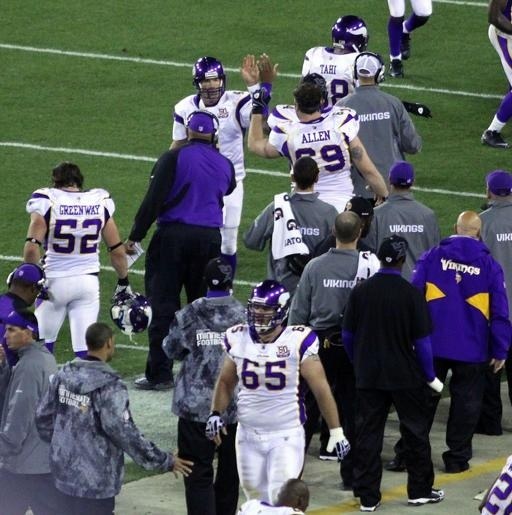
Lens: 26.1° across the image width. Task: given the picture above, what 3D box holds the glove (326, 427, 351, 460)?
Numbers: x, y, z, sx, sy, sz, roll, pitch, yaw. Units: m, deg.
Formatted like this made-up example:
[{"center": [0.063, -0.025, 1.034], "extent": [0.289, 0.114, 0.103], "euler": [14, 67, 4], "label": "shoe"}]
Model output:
[{"center": [0.472, 1.082, 6.396], "extent": [0.118, 0.242, 0.253], "euler": [2, 7, 4], "label": "glove"}]

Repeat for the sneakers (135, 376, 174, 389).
[{"center": [-0.829, 1.031, 8.898], "extent": [0.256, 0.115, 0.114], "euler": [7, 6, -3], "label": "sneakers"}]

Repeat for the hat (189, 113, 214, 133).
[{"center": [-0.417, -1.039, 8.344], "extent": [0.146, 0.172, 0.153], "euler": [11, 50, 10], "label": "hat"}]

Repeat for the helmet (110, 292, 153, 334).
[{"center": [-0.967, 0.420, 8.560], "extent": [0.282, 0.343, 0.334], "euler": [-11, 24, -21], "label": "helmet"}]

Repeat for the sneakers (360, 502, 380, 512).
[{"center": [0.727, 1.602, 7.081], "extent": [0.130, 0.052, 0.047], "euler": [-1, 28, 4], "label": "sneakers"}]

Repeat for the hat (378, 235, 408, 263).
[{"center": [0.890, -0.054, 7.065], "extent": [0.140, 0.187, 0.076], "euler": [18, -23, 21], "label": "hat"}]

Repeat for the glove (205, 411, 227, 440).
[{"center": [-0.246, 0.979, 6.449], "extent": [0.122, 0.195, 0.054], "euler": [-1, -29, 3], "label": "glove"}]

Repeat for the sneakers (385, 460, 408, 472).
[{"center": [0.984, 1.470, 7.776], "extent": [0.188, 0.070, 0.062], "euler": [4, 7, 0], "label": "sneakers"}]

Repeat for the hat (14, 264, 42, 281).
[{"center": [-1.586, 0.104, 7.705], "extent": [0.184, 0.111, 0.279], "euler": [2, 7, 9], "label": "hat"}]

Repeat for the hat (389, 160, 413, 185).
[{"center": [1.070, -0.613, 8.107], "extent": [0.170, 0.182, 0.185], "euler": [2, 7, 4], "label": "hat"}]

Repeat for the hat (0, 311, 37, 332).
[{"center": [-1.426, 0.384, 6.654], "extent": [0.182, 0.068, 0.120], "euler": [9, -2, 0], "label": "hat"}]

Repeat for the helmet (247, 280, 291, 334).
[{"center": [0.067, 0.287, 6.330], "extent": [0.233, 0.296, 0.215], "euler": [1, 7, -2], "label": "helmet"}]

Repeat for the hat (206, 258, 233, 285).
[{"center": [-0.230, 0.082, 6.923], "extent": [0.195, 0.148, 0.303], "euler": [5, 7, -2], "label": "hat"}]

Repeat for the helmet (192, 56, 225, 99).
[{"center": [-0.398, -1.554, 9.314], "extent": [0.264, 0.309, 0.318], "euler": [1, 7, -5], "label": "helmet"}]
